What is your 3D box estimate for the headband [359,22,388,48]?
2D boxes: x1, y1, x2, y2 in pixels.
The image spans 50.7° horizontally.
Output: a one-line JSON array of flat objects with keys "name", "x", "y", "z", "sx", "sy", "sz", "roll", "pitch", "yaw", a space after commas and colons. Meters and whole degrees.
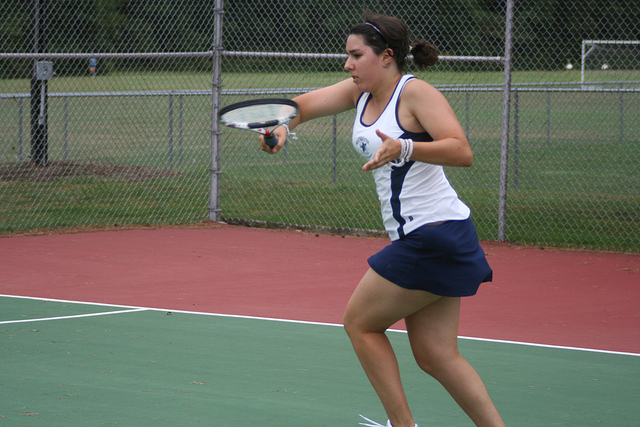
[{"name": "headband", "x": 0.330, "y": -1.067, "z": 4.027, "sx": 0.149, "sy": 0.148, "sz": 0.046, "roll": 9, "pitch": 15, "yaw": 34}]

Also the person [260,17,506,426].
[{"name": "person", "x": 0.558, "y": 0.139, "z": 4.140, "sx": 0.968, "sy": 2.623, "sz": 0.966, "roll": -1, "pitch": 12, "yaw": -6}]

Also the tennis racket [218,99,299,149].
[{"name": "tennis racket", "x": -0.389, "y": -0.624, "z": 4.488, "sx": 0.527, "sy": 0.126, "sz": 0.723, "roll": -7, "pitch": -16, "yaw": 0}]
